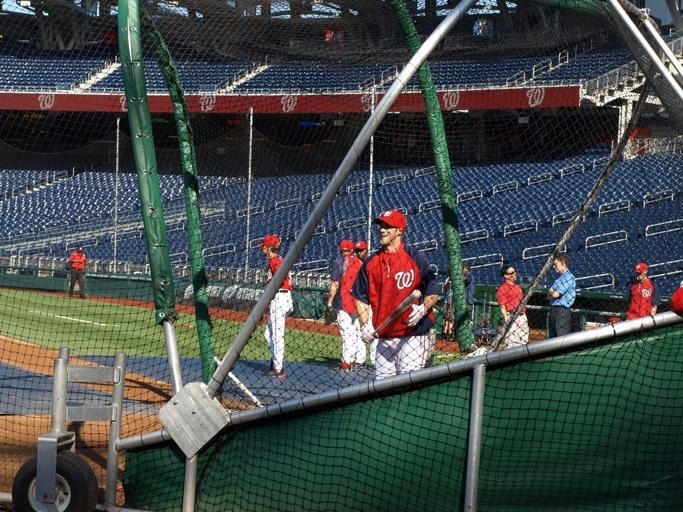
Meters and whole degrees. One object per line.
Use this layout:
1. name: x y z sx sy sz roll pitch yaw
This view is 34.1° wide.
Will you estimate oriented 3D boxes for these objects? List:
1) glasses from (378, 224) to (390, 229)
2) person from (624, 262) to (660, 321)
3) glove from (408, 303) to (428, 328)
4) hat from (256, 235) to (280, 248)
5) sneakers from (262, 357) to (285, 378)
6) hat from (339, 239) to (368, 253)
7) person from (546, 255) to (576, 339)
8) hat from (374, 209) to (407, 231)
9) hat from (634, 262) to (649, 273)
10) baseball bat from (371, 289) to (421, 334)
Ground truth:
1. glasses: 0.470 -0.314 11.883 0.113 0.048 0.069 5 0 -10
2. person: 4.227 0.510 15.686 0.422 0.748 1.438 3 10 15
3. glove: 0.798 0.621 11.802 0.180 0.225 0.058 28 -2 -10
4. hat: -0.941 -0.180 14.852 0.222 0.172 0.406 -1 9 -8
5. sneakers: -0.879 1.479 14.722 0.239 0.248 0.252 8 -15 -30
6. hat: 0.120 -0.140 15.644 0.405 0.190 0.246 -2 2 -40
7. person: 3.051 0.579 15.543 0.358 1.358 1.282 2 10 11
8. hat: 0.556 -0.405 11.938 0.317 0.181 0.205 23 -8 -29
9. hat: 4.305 0.169 15.893 0.191 0.152 0.293 -2 -3 45
10. baseball bat: 0.603 0.585 11.811 0.089 0.575 0.088 46 19 16
